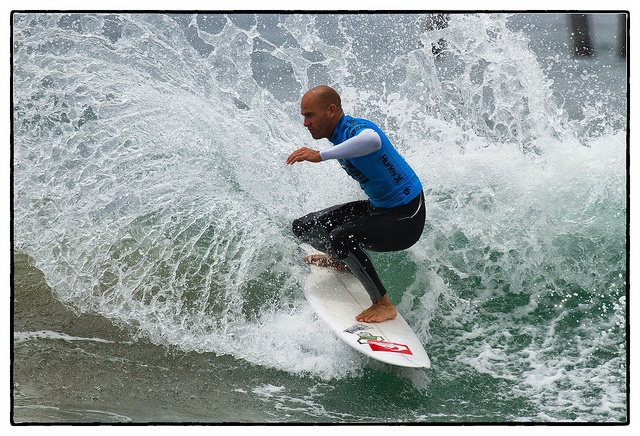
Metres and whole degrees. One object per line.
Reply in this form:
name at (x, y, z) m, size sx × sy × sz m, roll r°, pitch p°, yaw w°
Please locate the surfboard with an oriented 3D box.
surfboard at (0.351, 0.760, 5.520) m, size 0.504 × 0.213 × 1.529 m, roll -18°, pitch 40°, yaw -25°
